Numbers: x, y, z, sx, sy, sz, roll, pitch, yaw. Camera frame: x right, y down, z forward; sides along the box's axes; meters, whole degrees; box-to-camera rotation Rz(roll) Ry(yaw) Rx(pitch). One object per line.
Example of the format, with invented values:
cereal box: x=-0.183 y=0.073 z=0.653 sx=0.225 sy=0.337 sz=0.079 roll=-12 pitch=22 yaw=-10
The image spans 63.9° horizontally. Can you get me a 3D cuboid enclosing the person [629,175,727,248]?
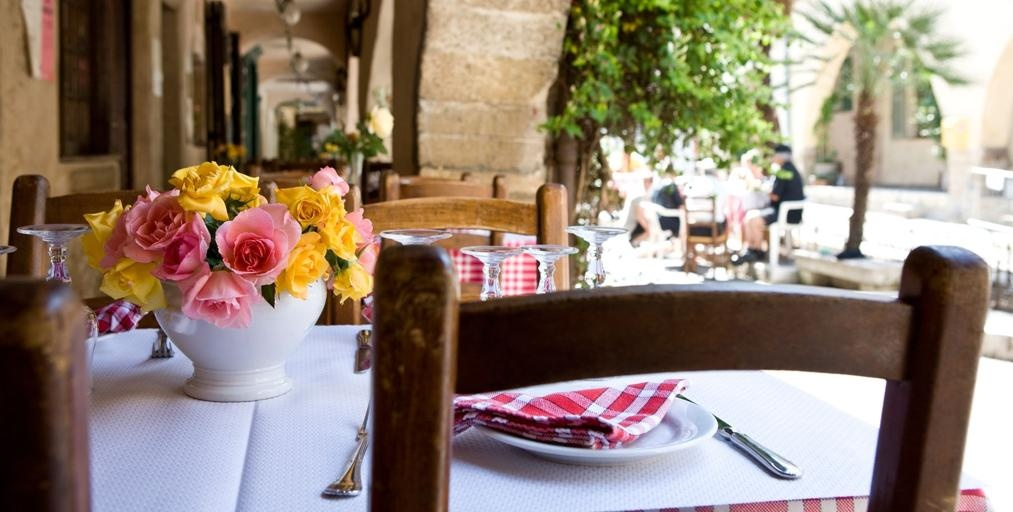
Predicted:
person: x=1.589 y=-0.384 z=7.584 sx=0.723 sy=1.060 sz=0.713 roll=1 pitch=3 yaw=7
